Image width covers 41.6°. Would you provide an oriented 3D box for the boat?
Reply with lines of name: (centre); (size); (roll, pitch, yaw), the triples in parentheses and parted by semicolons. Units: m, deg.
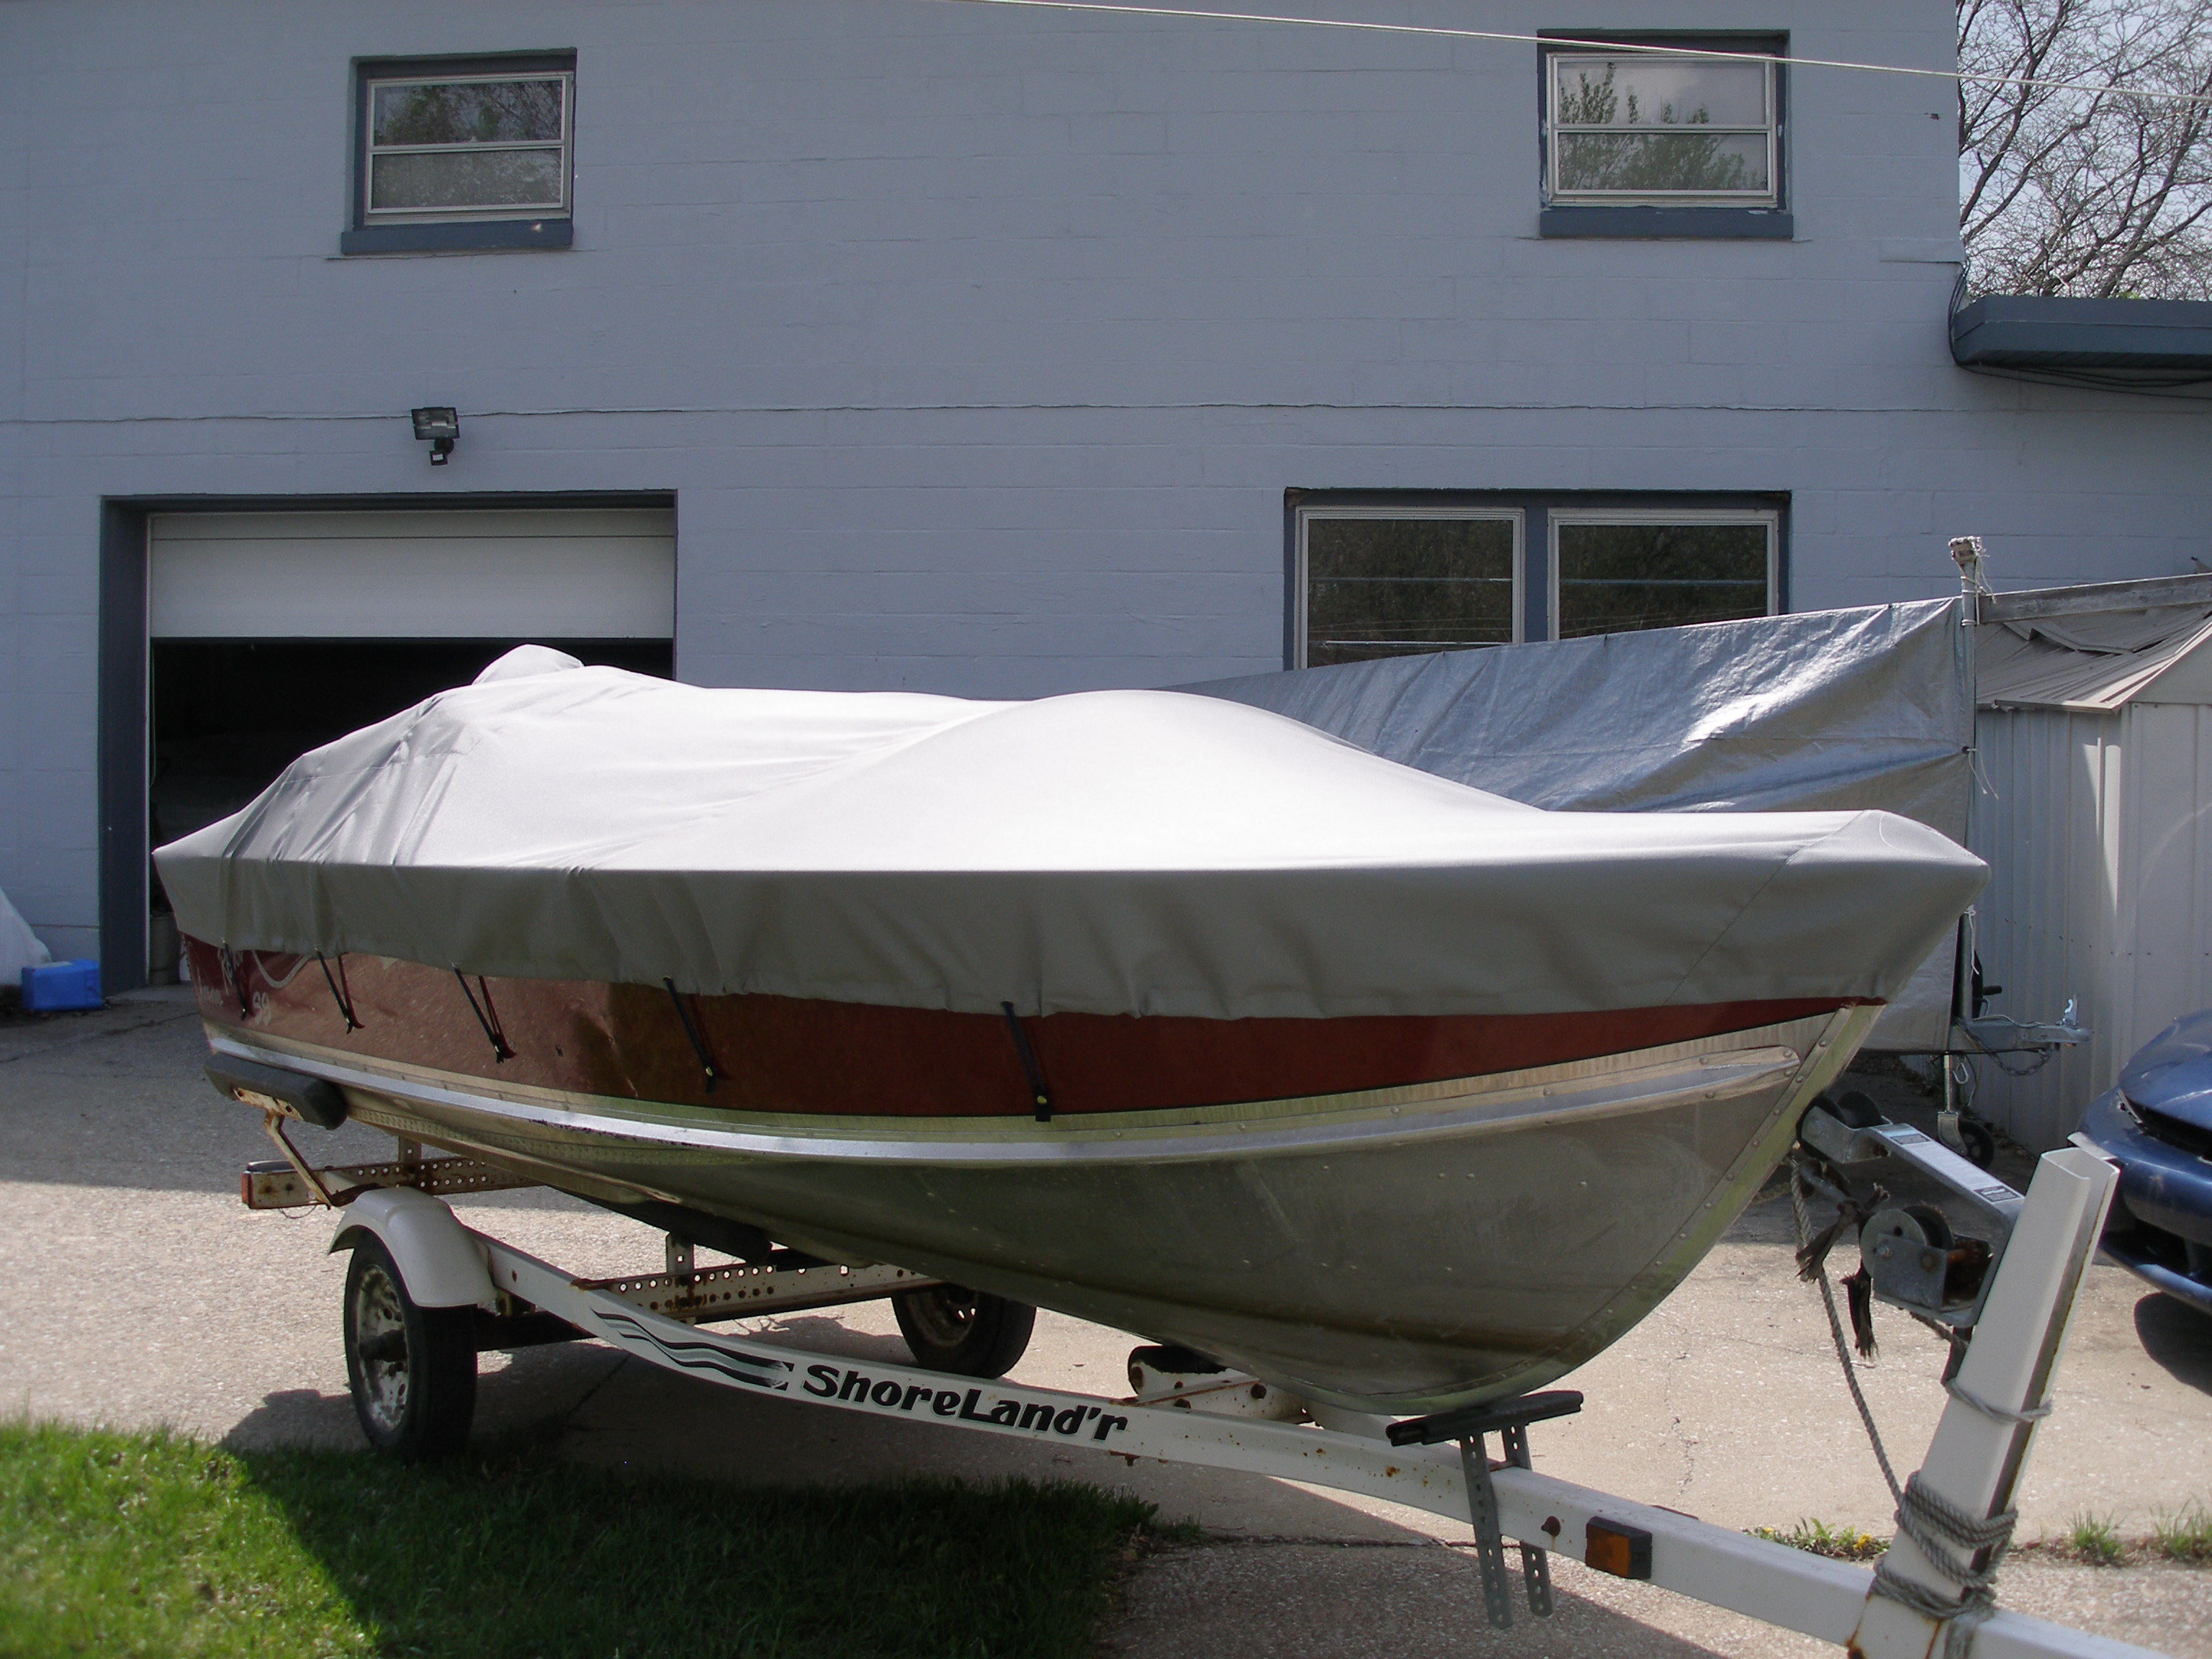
boat: (-0.422, 0.764, 10.202); (6.111, 1.951, 2.454); (6, 9, 31)
